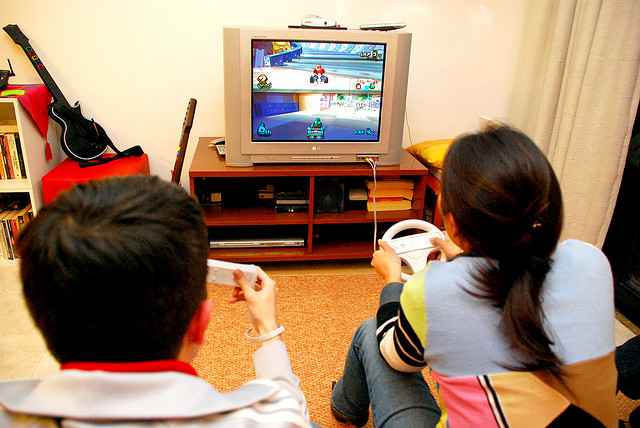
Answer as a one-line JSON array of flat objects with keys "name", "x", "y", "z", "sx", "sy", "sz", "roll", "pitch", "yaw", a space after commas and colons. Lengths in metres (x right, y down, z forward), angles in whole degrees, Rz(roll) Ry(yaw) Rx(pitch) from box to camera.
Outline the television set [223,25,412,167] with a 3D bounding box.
[{"name": "television set", "x": -0.070, "y": -0.731, "z": 2.869, "sx": 1.108, "sy": 0.767, "sz": 0.597, "roll": -2, "pitch": 22, "yaw": -10}]

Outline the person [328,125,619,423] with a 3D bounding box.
[{"name": "person", "x": 0.492, "y": 0.209, "z": 1.291, "sx": 0.739, "sy": 0.802, "sz": 0.422, "roll": 16, "pitch": 33, "yaw": 28}]

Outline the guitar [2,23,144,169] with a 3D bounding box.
[{"name": "guitar", "x": -1.481, "y": -0.713, "z": 2.782, "sx": 0.599, "sy": 0.794, "sz": 0.381, "roll": 20, "pitch": 35, "yaw": 34}]

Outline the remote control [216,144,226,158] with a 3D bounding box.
[{"name": "remote control", "x": -0.597, "y": -0.385, "z": 2.788, "sx": 0.082, "sy": 0.020, "sz": 0.083, "roll": -1, "pitch": 50, "yaw": -7}]

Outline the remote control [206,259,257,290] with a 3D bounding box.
[{"name": "remote control", "x": -0.271, "y": 0.190, "z": 1.434, "sx": 0.151, "sy": 0.102, "sz": 0.094, "roll": 8, "pitch": 29, "yaw": 16}]
